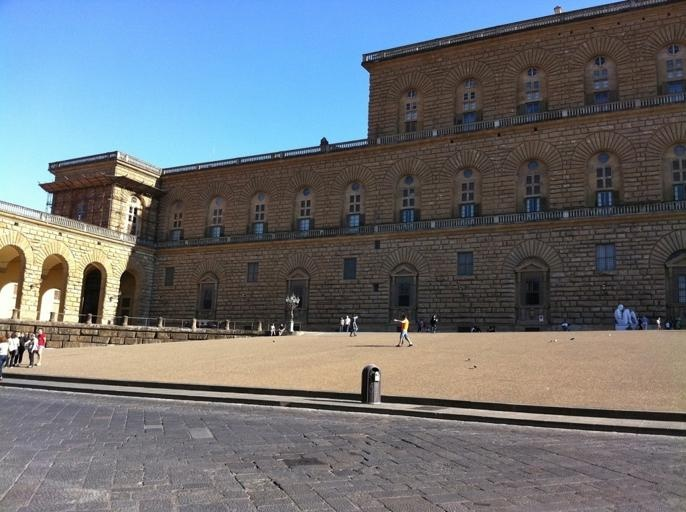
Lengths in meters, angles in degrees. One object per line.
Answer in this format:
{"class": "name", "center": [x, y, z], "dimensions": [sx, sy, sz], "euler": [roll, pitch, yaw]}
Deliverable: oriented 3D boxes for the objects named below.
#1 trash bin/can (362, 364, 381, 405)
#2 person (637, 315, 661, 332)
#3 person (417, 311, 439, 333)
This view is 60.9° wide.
{"class": "trash bin/can", "center": [0.679, 3.012, 13.720], "dimensions": [0.450, 0.873, 0.418], "euler": [1, -9, -2]}
{"class": "person", "center": [15.802, 3.400, 30.145], "dimensions": [1.107, 0.716, 1.158], "euler": [-5, -11, 32]}
{"class": "person", "center": [5.098, 4.009, 35.306], "dimensions": [1.209, 1.184, 1.126], "euler": [-1, -1, 18]}
